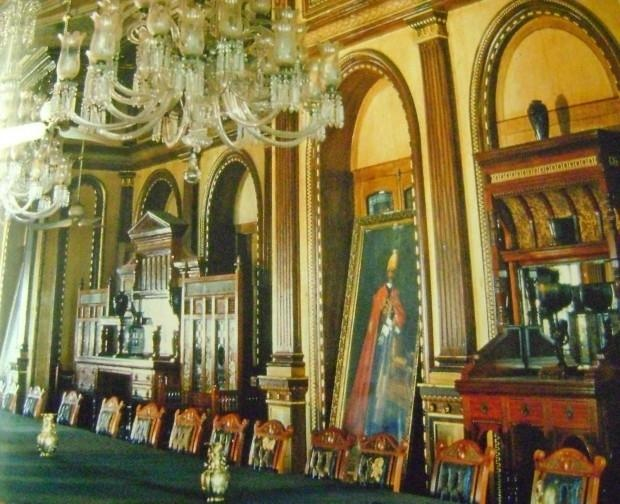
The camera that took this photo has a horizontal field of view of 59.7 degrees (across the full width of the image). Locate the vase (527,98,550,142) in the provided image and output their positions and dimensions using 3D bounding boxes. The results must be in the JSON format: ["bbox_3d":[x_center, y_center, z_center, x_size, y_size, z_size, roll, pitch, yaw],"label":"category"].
[{"bbox_3d":[1.855,-1.047,4.380,0.153,0.379,0.233,-5,-17,24],"label":"vase"}]

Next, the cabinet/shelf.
[{"bbox_3d":[-2.720,1.877,7.941,1.677,0.684,0.590,-1,-8,29],"label":"cabinet/shelf"}]
